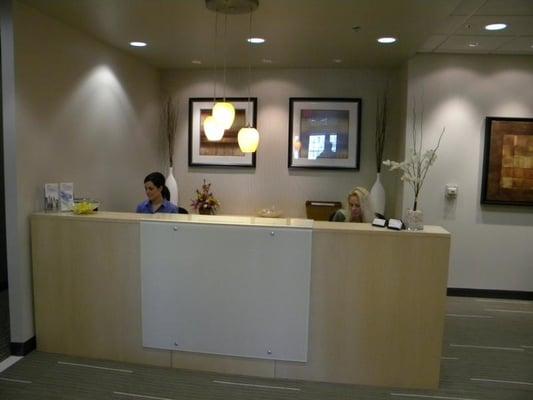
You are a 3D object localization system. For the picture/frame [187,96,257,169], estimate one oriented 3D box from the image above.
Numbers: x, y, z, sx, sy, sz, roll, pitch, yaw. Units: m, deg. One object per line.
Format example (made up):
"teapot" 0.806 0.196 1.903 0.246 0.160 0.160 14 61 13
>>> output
"picture/frame" -0.562 -0.926 5.619 0.920 1.051 0.101 1 8 3

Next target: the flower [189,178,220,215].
"flower" -0.851 -0.041 6.018 0.417 0.596 0.479 1 -3 0

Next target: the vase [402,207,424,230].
"vase" 1.265 0.164 3.614 0.151 0.167 0.157 0 1 30

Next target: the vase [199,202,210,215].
"vase" -0.856 0.117 5.787 0.154 0.129 0.161 3 0 -7

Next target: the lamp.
"lamp" -0.367 -1.230 4.592 0.567 1.501 1.610 1 13 -2
